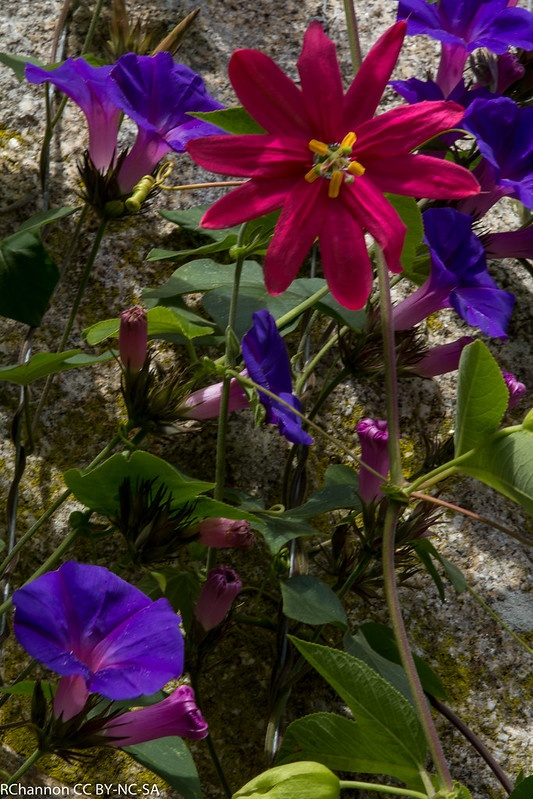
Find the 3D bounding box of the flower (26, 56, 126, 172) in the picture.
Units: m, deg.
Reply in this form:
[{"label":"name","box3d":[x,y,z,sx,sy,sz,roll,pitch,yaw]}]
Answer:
[{"label":"flower","box3d":[-0.161,-0.280,0.723,0.111,0.102,0.095,-9,32,-11]}]

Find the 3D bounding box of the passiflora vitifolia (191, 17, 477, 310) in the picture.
[{"label":"passiflora vitifolia","box3d":[0.051,-0.172,0.503,0.246,0.062,0.219,-8,28,11]}]

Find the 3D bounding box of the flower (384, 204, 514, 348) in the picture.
[{"label":"flower","box3d":[0.179,-0.112,0.673,0.128,0.116,0.076,-2,-17,-45]}]
